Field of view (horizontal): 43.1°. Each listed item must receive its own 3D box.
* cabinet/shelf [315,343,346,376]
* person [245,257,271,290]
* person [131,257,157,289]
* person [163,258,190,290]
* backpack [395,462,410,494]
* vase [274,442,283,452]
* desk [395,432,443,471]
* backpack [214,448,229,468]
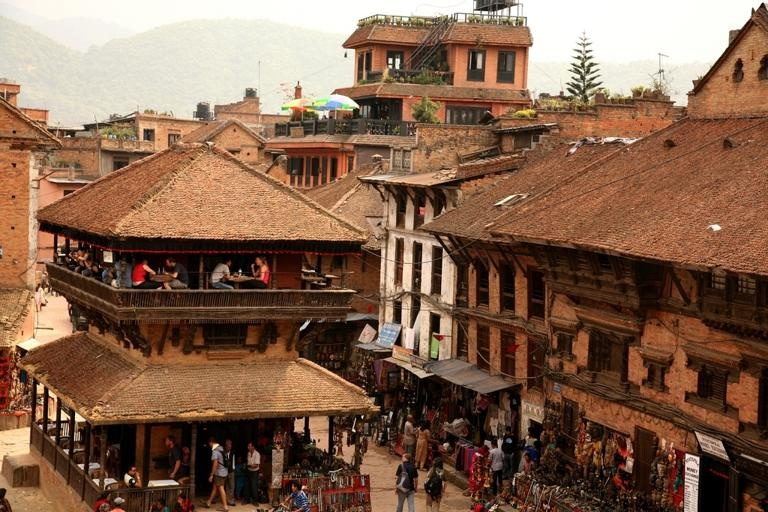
[{"bbox_3d":[-3.151,5.986,56.602,2.397,2.186,0.757,6,-4,-18],"label":"cabinet/shelf"},{"bbox_3d":[-5.165,0.722,40.202,0.764,1.201,1.069,7,12,25],"label":"person"},{"bbox_3d":[-9.583,0.724,38.415,1.088,1.059,0.906,11,14,40],"label":"person"},{"bbox_3d":[-8.291,0.789,38.962,1.254,2.079,0.966,0,-4,-8],"label":"person"},{"bbox_3d":[0.734,8.644,37.637,0.376,1.154,0.633,-3,12,-23],"label":"backpack"},{"bbox_3d":[-4.192,7.604,38.482,0.360,0.255,0.173,-2,11,-20],"label":"vase"},{"bbox_3d":[1.678,9.121,44.909,2.290,0.961,3.050,-2,3,8],"label":"desk"},{"bbox_3d":[-6.339,7.911,37.711,0.504,0.882,0.812,-7,-2,2],"label":"backpack"}]
